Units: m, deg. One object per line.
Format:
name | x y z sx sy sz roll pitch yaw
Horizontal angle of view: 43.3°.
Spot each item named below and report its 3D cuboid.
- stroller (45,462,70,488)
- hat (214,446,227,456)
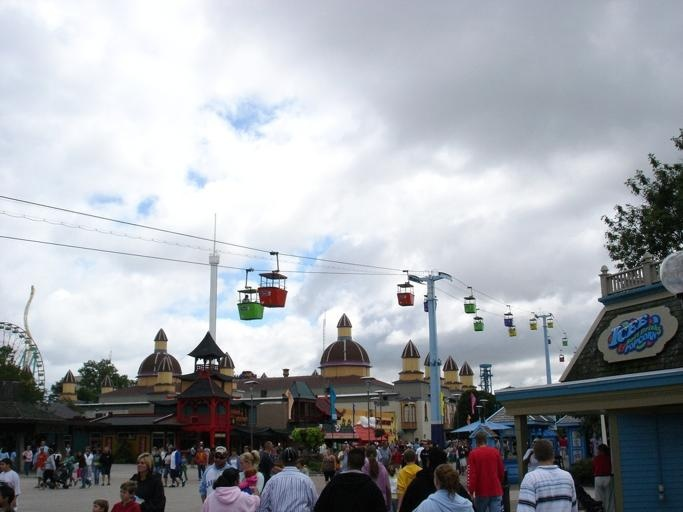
stroller | -13.260 10.270 39.969 0.864 0.995 1.444 7 -16 -20
hat | -3.053 4.901 21.641 0.251 0.229 0.748 1 -18 -8
